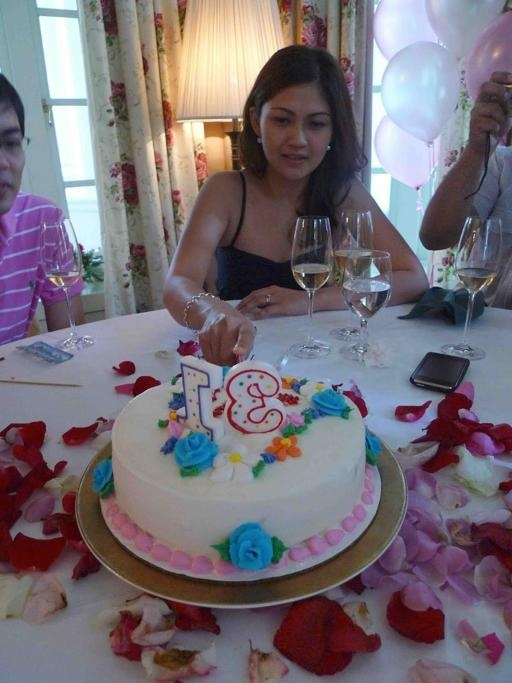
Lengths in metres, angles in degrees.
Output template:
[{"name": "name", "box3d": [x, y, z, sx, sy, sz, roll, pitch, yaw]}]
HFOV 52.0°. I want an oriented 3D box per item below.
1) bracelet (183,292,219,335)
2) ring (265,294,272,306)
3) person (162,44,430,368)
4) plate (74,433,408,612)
[{"name": "bracelet", "box3d": [-0.127, -0.068, 1.244, 0.077, 0.096, 0.026, 31, -17, -26]}, {"name": "ring", "box3d": [0.034, -0.113, 1.406, 0.024, 0.024, 0.022, -1, 20, 0]}, {"name": "person", "box3d": [0.098, -0.423, 1.790, 0.782, 1.057, 0.838, 20, 32, 36]}, {"name": "plate", "box3d": [-0.029, 0.199, 0.628, 0.412, 0.049, 0.322, 0, 16, 9]}]
